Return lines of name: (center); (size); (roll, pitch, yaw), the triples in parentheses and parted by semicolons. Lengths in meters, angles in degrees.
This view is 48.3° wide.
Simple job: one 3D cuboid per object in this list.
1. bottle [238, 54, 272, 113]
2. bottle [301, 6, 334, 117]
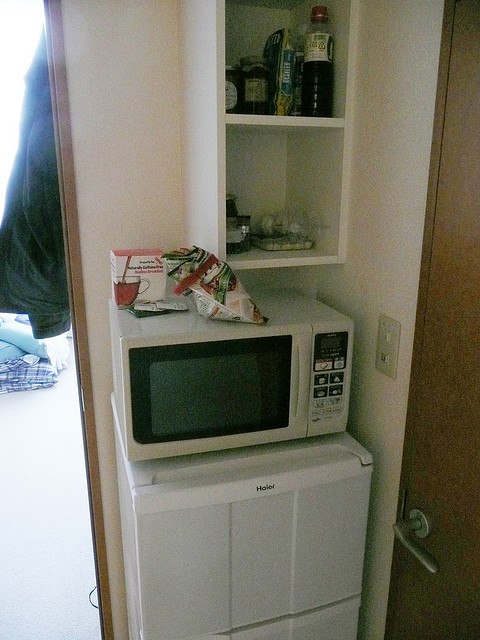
bottle: (0.026, -0.483, 1.078); (0.041, 0.094, 0.071); (-12, 37, -13)
bottle: (0.153, -0.498, 1.078); (0.049, 0.224, 0.065); (-9, 20, -23)
